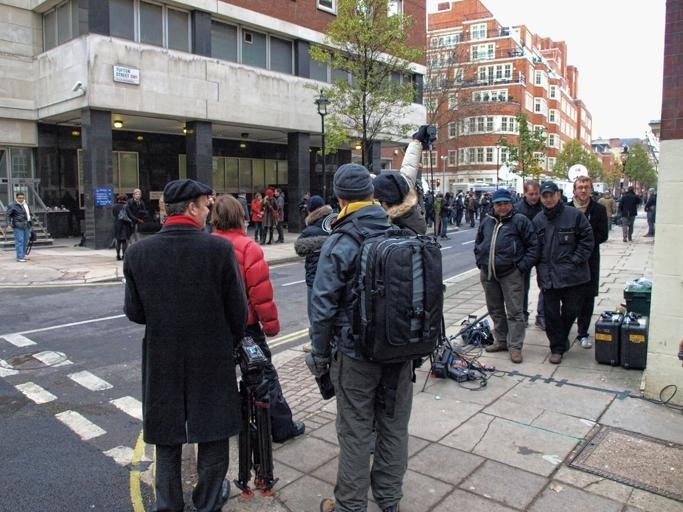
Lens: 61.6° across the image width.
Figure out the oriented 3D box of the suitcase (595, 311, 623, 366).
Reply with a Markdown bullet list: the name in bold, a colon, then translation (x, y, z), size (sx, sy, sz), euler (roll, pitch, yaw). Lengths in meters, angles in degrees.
- **suitcase**: translation (3.454, 1.105, 7.407), size (0.283, 0.586, 0.571), euler (1, 4, 31)

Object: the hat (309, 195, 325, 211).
- **hat**: translation (-0.279, -0.609, 6.585), size (0.137, 0.197, 0.189), euler (0, 12, -2)

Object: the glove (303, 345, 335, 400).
- **glove**: translation (-0.143, 1.060, 4.940), size (0.131, 0.473, 0.339), euler (-10, 16, -30)

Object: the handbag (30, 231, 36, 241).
- **handbag**: translation (-9.625, -0.616, 17.908), size (0.372, 0.386, 0.135), euler (0, 1, 42)

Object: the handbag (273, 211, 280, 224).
- **handbag**: translation (-2.450, -1.436, 21.637), size (0.143, 0.534, 0.479), euler (3, 3, 23)

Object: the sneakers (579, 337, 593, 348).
- **sneakers**: translation (3.468, 1.238, 8.137), size (0.085, 0.101, 0.240), euler (3, 8, 19)

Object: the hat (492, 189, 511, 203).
- **hat**: translation (2.207, -0.810, 7.901), size (0.158, 0.128, 0.236), euler (0, -6, 16)

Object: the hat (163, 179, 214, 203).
- **hat**: translation (-1.290, -0.538, 4.805), size (0.270, 0.132, 0.240), euler (-5, 5, -44)

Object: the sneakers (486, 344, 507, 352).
- **sneakers**: translation (2.185, 1.314, 8.095), size (0.288, 0.131, 0.109), euler (3, -1, -15)

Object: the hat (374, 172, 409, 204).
- **hat**: translation (0.475, -0.666, 5.638), size (0.259, 0.324, 0.326), euler (-7, 10, -28)

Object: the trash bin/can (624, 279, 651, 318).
- **trash bin/can**: translation (3.978, 0.593, 7.701), size (0.369, 0.591, 0.396), euler (6, -6, -22)

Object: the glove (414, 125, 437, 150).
- **glove**: translation (0.983, -1.384, 6.691), size (0.242, 0.336, 0.315), euler (-4, 20, -22)

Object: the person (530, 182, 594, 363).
- **person**: translation (2.950, 0.203, 7.673), size (0.740, 2.364, 0.603), euler (1, 9, 22)

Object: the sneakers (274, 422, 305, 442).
- **sneakers**: translation (-0.523, 1.818, 5.876), size (0.123, 0.169, 0.361), euler (5, 14, 24)

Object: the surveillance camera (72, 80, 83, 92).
- **surveillance camera**: translation (-9.012, -5.812, 19.650), size (0.238, 0.371, 0.646), euler (-9, 11, -39)

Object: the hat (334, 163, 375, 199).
- **hat**: translation (0.100, -0.626, 4.830), size (0.259, 0.269, 0.316), euler (-1, 14, -1)

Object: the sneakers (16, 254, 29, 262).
- **sneakers**: translation (-9.381, 0.105, 16.920), size (0.498, 0.229, 0.171), euler (0, 1, 45)

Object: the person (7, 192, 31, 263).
- **person**: translation (-9.496, -0.833, 16.958), size (0.575, 1.931, 1.014), euler (-6, 9, -23)

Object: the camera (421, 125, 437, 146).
- **camera**: translation (1.003, -1.385, 6.640), size (0.193, 0.288, 0.243), euler (1, 12, -1)

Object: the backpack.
- **backpack**: translation (0.419, 0.335, 4.694), size (0.834, 1.184, 0.452), euler (-2, 8, 0)
